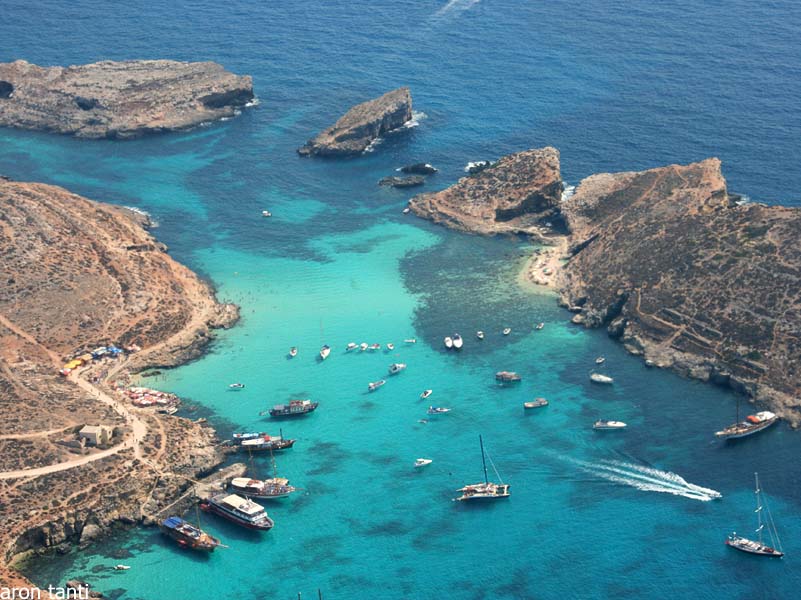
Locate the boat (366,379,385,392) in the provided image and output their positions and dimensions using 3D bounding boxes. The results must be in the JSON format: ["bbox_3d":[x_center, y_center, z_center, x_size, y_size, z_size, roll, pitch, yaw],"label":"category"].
[{"bbox_3d":[-4.410,15.929,203.294,4.428,0.996,1.143,-16,62,-17],"label":"boat"}]

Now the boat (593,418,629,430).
[{"bbox_3d":[37.629,22.254,194.279,7.313,1.606,1.464,1,54,1],"label":"boat"}]

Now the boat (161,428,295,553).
[{"bbox_3d":[-27.456,31.599,185.323,18.328,6.440,26.894,11,33,13],"label":"boat"}]

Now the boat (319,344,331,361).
[{"bbox_3d":[-14.215,10.022,209.759,1.470,1.113,3.641,29,39,3],"label":"boat"}]

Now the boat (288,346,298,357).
[{"bbox_3d":[-20.384,10.005,210.005,2.168,0.602,1.641,-4,49,-1],"label":"boat"}]

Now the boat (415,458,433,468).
[{"bbox_3d":[4.072,27.791,188.860,2.832,0.652,2.076,-26,43,-37],"label":"boat"}]

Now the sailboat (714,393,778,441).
[{"bbox_3d":[61.203,22.564,194.161,15.871,4.342,3.359,-16,54,0],"label":"sailboat"}]

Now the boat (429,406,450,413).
[{"bbox_3d":[7.117,19.782,197.851,3.477,0.652,1.582,6,34,5],"label":"boat"}]

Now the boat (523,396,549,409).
[{"bbox_3d":[24.466,18.735,198.424,4.780,1.422,1.286,-6,60,-3],"label":"boat"}]

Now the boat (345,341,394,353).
[{"bbox_3d":[-5.825,9.189,210.933,8.733,0.887,2.616,2,33,0],"label":"boat"}]

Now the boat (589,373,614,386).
[{"bbox_3d":[37.246,14.745,203.195,4.036,1.064,2.968,23,39,28],"label":"boat"}]

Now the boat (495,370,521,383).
[{"bbox_3d":[19.972,14.412,203.834,4.124,0.853,2.024,4,36,1],"label":"boat"}]

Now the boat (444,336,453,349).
[{"bbox_3d":[9.392,8.349,212.040,1.758,0.382,2.109,-8,41,2],"label":"boat"}]
